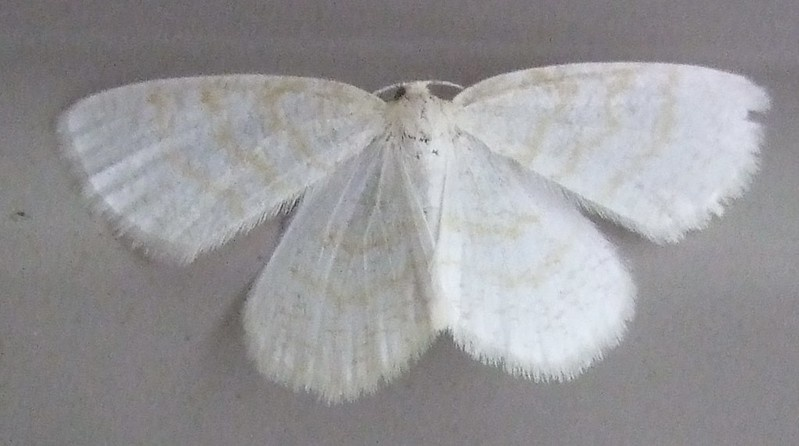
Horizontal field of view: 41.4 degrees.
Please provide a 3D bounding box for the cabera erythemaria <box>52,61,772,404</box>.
[{"bbox_3d":[0.092,0.034,5.785,3.169,1.767,0.363,1,2,-2],"label":"cabera erythemaria"}]
